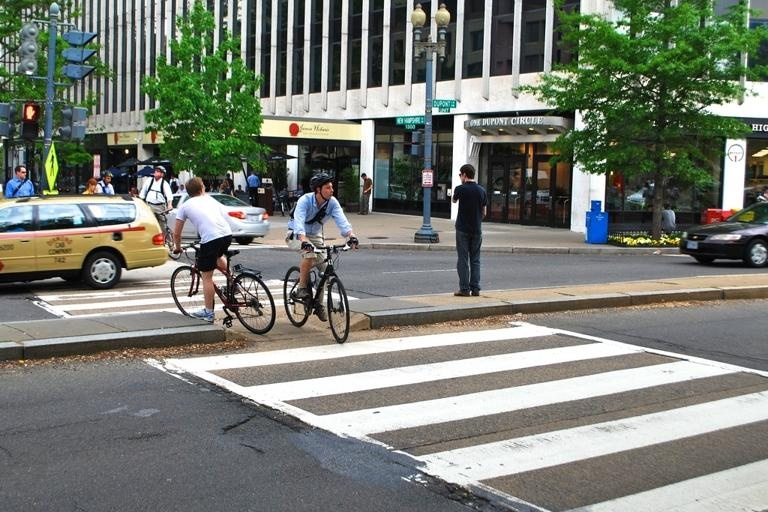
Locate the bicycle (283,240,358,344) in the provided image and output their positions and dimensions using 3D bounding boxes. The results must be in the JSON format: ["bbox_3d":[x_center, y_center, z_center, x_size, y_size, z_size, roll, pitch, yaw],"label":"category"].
[{"bbox_3d":[-0.990,0.442,11.445,0.863,1.307,2.199,-3,9,-27],"label":"bicycle"}]

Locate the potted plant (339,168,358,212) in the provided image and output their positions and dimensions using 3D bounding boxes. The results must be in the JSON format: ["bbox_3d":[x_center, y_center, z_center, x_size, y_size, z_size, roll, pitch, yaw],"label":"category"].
[{"bbox_3d":[-1.666,-3.318,39.777,0.914,2.091,0.836,5,-6,-38],"label":"potted plant"}]

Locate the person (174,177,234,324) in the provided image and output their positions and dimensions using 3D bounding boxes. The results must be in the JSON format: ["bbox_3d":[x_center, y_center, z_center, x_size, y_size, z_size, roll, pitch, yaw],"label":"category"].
[{"bbox_3d":[-2.716,-0.030,11.426,0.821,2.235,0.902,-1,12,-15],"label":"person"}]

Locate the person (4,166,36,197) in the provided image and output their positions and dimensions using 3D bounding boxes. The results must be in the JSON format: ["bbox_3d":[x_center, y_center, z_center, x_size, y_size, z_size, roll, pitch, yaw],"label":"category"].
[{"bbox_3d":[-10.331,-2.079,21.494,0.702,0.911,1.938,-4,13,-27],"label":"person"}]

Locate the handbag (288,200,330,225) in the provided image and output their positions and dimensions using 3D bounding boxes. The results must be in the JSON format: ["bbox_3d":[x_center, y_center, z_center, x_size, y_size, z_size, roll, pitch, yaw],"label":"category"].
[{"bbox_3d":[-1.080,-0.639,11.292,0.436,0.487,0.352,16,8,-13],"label":"handbag"}]

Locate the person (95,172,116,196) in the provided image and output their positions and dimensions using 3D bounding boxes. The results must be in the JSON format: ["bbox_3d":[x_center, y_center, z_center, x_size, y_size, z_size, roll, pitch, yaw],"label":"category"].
[{"bbox_3d":[-8.972,-2.345,24.522,0.419,0.724,1.806,-2,12,-20],"label":"person"}]

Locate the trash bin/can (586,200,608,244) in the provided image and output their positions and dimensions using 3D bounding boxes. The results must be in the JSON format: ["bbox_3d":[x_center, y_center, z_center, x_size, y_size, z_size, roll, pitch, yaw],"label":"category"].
[{"bbox_3d":[7.288,-1.146,25.871,0.777,1.427,0.785,5,12,14],"label":"trash bin/can"}]

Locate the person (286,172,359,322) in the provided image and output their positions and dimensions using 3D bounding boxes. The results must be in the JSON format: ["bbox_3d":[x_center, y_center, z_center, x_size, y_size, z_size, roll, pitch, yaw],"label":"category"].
[{"bbox_3d":[-0.946,-0.266,11.099,0.884,1.880,0.802,0,11,-7],"label":"person"}]

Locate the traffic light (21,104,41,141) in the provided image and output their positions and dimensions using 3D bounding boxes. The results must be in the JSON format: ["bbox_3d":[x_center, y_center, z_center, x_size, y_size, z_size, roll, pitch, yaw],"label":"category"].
[{"bbox_3d":[-9.389,-3.592,20.266,0.515,1.011,0.733,-4,12,-26],"label":"traffic light"}]

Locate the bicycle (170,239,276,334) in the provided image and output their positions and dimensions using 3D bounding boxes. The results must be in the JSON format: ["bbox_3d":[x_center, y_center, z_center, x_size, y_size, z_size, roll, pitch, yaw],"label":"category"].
[{"bbox_3d":[-2.507,0.462,11.705,2.241,1.312,1.092,5,16,33],"label":"bicycle"}]

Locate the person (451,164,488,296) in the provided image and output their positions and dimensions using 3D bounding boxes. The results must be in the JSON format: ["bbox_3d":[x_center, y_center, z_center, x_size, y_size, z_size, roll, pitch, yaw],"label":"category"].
[{"bbox_3d":[1.551,-0.450,13.886,0.589,2.349,1.101,3,11,6],"label":"person"}]

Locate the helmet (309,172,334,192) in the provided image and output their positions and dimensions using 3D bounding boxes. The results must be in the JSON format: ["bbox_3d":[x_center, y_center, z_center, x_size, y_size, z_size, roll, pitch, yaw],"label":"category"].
[{"bbox_3d":[-0.912,-1.066,10.997,0.303,0.271,0.265,4,11,9],"label":"helmet"}]

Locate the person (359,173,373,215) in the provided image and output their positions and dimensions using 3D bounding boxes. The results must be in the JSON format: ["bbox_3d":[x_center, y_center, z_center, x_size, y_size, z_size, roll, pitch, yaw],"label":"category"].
[{"bbox_3d":[-0.870,-3.105,38.371,0.459,2.073,1.228,1,11,-4],"label":"person"}]

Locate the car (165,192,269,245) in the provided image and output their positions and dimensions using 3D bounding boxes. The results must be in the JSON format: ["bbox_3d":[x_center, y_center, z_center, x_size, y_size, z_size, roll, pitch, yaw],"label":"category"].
[{"bbox_3d":[-5.541,-1.128,25.017,3.953,1.253,1.705,8,8,41],"label":"car"}]
